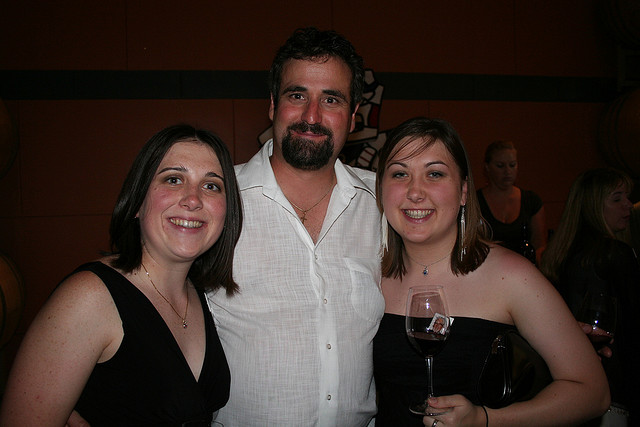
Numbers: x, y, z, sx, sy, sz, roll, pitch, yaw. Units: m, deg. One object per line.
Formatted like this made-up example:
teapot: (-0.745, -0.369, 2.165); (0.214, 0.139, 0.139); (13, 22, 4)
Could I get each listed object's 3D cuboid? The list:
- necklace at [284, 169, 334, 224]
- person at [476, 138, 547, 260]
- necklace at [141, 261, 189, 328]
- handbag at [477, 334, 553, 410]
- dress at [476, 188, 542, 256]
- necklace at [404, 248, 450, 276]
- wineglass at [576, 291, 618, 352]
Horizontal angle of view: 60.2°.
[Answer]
necklace: (-0.109, -0.130, 4.471); (0.441, 0.441, 0.077); (3, 0, -3)
person: (2.254, 0.002, 6.761); (0.973, 1.720, 0.869); (-1, 9, 9)
necklace: (-1.141, 0.586, 3.989); (0.053, 0.496, 0.153); (-16, 13, 48)
handbag: (1.447, 1.191, 4.152); (0.261, 0.575, 0.658); (-3, -22, 42)
dress: (2.071, 0.090, 6.067); (0.711, 0.696, 0.389); (1, -12, -3)
necklace: (0.844, 0.390, 4.351); (0.335, 0.184, 0.095); (-1, 6, 10)
wineglass: (2.187, 0.835, 4.358); (0.284, 0.413, 0.283); (10, 2, 39)
